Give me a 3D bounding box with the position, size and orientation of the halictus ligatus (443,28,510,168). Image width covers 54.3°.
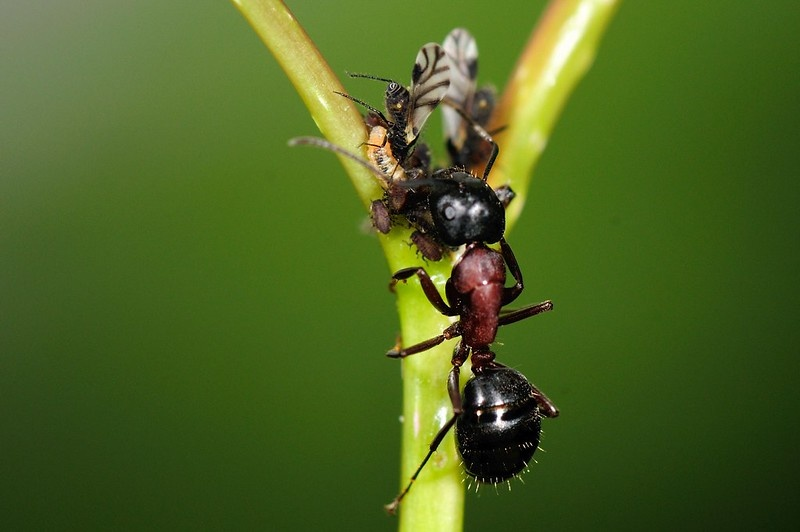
[{"bbox_3d":[0.293,-0.699,3.459,0.479,0.529,0.255,5,-18,-11],"label":"halictus ligatus"}]

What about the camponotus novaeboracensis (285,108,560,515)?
[{"bbox_3d":[0.394,0.215,3.489,0.716,1.878,1.318,3,-2,24],"label":"camponotus novaeboracensis"}]
